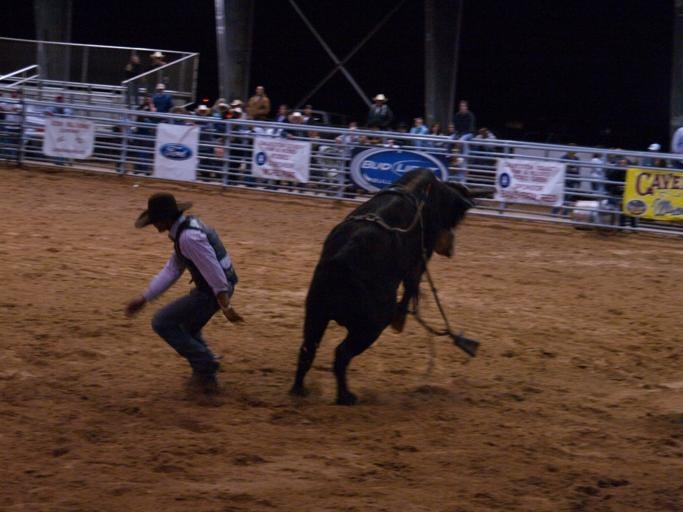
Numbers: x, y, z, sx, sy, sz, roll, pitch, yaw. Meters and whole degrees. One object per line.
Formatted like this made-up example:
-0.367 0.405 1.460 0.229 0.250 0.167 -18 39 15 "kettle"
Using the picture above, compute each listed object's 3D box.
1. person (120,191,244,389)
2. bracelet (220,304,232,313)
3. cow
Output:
-1.495 0.345 8.197 1.131 1.928 0.500 6 7 -1 "person"
-1.099 0.495 8.022 0.091 0.040 0.069 2 1 -2 "bracelet"
0.384 0.244 8.699 0.695 2.388 1.698 11 8 31 "cow"
